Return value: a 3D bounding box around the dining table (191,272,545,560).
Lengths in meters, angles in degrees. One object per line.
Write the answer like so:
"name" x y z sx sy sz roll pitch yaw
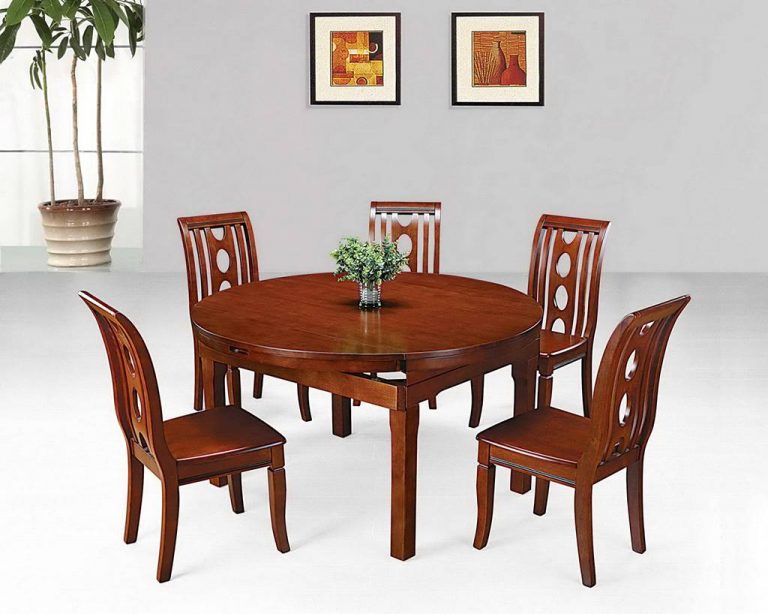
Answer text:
"dining table" 0.212 0.364 2.870 0.924 0.591 0.975 -7 12 -4

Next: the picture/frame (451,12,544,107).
"picture/frame" 1.065 -2.347 6.723 0.722 0.811 0.053 1 7 1

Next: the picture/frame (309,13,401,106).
"picture/frame" -0.278 -2.363 6.752 0.708 0.798 0.053 0 7 -1

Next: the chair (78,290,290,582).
"chair" -0.669 0.414 2.556 0.487 0.962 0.666 10 14 38

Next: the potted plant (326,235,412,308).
"potted plant" -0.060 -0.177 3.072 0.274 0.318 0.311 3 7 23
